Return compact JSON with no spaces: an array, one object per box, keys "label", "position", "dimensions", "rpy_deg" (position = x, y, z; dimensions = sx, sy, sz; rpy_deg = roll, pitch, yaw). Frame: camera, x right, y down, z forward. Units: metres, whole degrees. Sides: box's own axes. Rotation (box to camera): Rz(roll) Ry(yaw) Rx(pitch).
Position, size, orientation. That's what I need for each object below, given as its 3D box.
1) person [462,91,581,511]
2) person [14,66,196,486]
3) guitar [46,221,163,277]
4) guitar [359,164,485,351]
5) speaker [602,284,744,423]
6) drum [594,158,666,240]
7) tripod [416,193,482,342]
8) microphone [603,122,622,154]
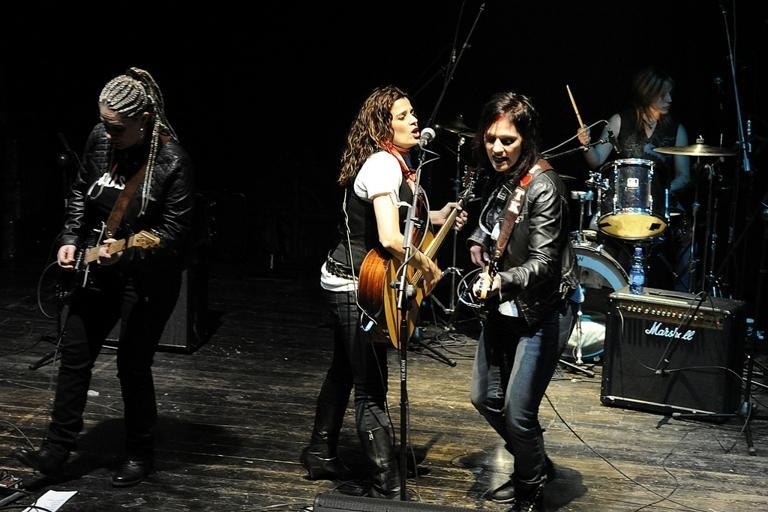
[{"label":"person","position":[0.763,0.301,3.828],"dimensions":[0.668,2.377,0.783],"rpy_deg":[7,2,13]},{"label":"person","position":[-1.673,0.113,4.117],"dimensions":[0.833,1.971,0.470],"rpy_deg":[6,2,-9]},{"label":"guitar","position":[-1.682,-0.042,4.021],"dimensions":[0.649,0.196,0.177],"rpy_deg":[5,1,17]},{"label":"guitar","position":[0.177,0.013,4.012],"dimensions":[0.180,1.186,0.515],"rpy_deg":[4,-38,33]},{"label":"speaker","position":[2.299,0.808,5.214],"dimensions":[1.089,0.951,0.474],"rpy_deg":[7,9,23]},{"label":"drum","position":[2.284,-0.524,6.124],"dimensions":[0.748,0.622,0.733],"rpy_deg":[2,0,-44]},{"label":"tripod","position":[0.787,0.206,6.440],"dimensions":[0.248,1.640,0.707],"rpy_deg":[6,-27,35]},{"label":"microphone","position":[2.365,-1.238,6.784],"dimensions":[0.132,0.500,0.156],"rpy_deg":[-27,-59,25]}]
